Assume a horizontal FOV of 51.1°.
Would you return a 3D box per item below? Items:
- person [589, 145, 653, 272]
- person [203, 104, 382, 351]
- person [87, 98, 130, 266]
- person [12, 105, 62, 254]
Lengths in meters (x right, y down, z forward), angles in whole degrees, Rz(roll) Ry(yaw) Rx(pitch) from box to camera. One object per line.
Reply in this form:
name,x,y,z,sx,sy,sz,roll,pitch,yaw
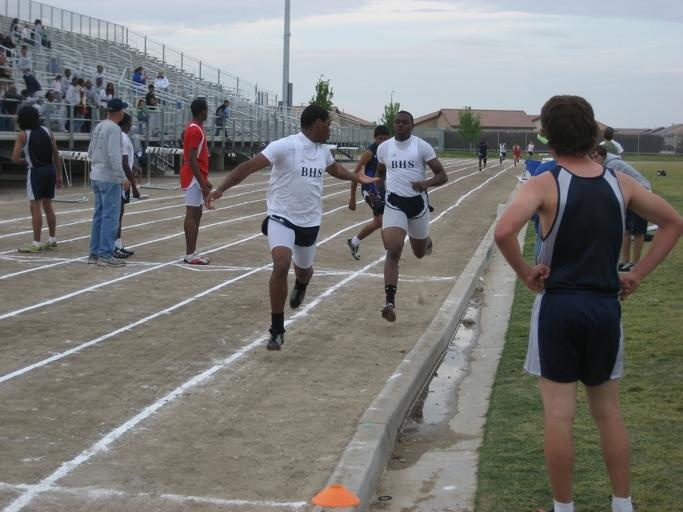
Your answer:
person,4.062,-0.681,10.532,1.239,1.922,0.726,-3,16,2
person,-0.478,-0.330,7.405,0.524,2.443,1.370,5,11,22
person,-3.726,-1.165,11.296,0.664,2.615,0.704,-3,11,-17
person,-5.340,-1.369,12.595,0.741,2.516,1.501,-4,11,-22
